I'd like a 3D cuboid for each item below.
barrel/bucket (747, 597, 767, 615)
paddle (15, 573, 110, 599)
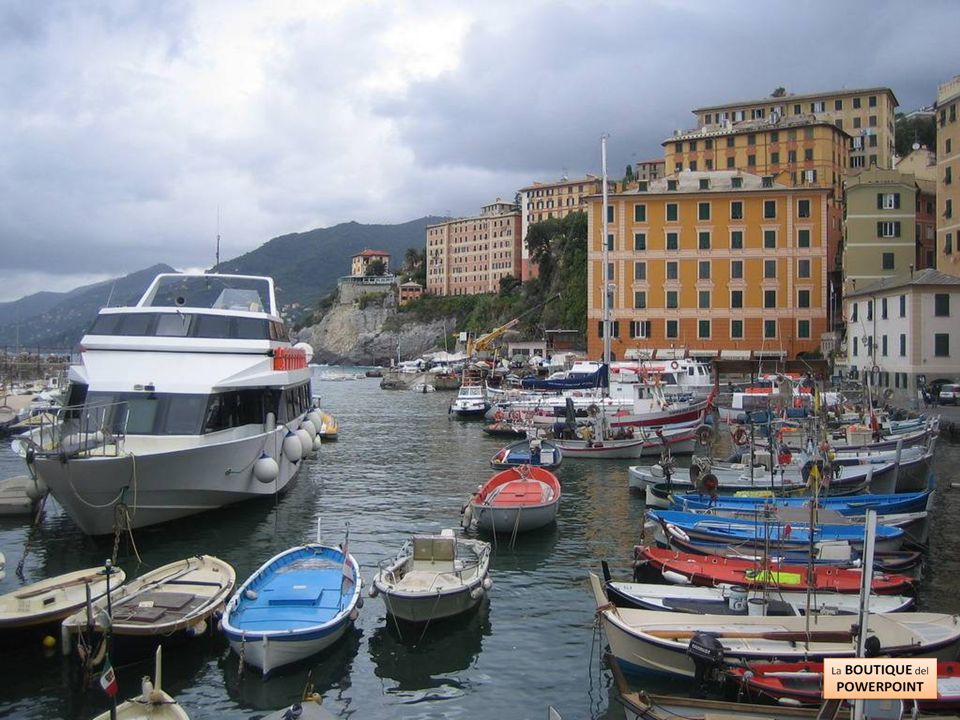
[{"bbox_3d":[6.854,6.068,24.079,0.384,0.352,0.379,-1,-4,0],"label":"barrel/bucket"},{"bbox_3d":[-10.714,5.792,25.384,1.104,0.346,2.448,8,1,31],"label":"paddle"}]
